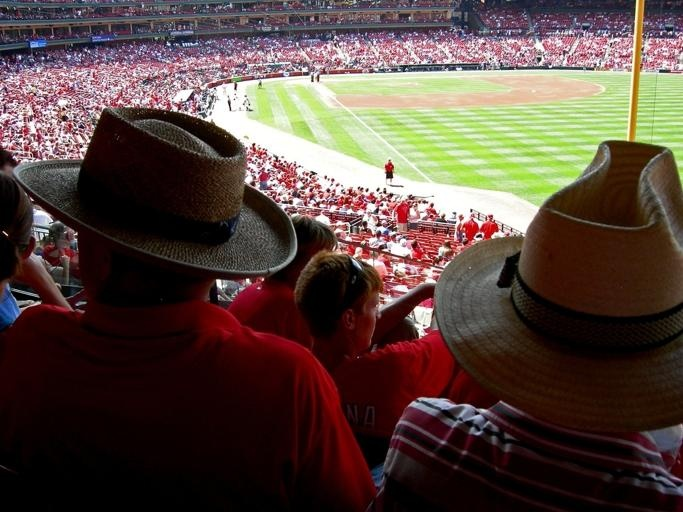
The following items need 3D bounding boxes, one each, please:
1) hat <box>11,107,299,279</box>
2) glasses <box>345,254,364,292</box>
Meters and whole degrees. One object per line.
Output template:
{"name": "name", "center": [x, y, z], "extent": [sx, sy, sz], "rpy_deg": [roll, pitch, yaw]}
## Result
{"name": "hat", "center": [-0.627, -0.141, 1.825], "extent": [0.739, 0.287, 0.677], "rpy_deg": [28, 21, 6]}
{"name": "glasses", "center": [0.053, 0.065, 2.473], "extent": [0.053, 0.114, 0.081], "rpy_deg": [2, 13, -20]}
